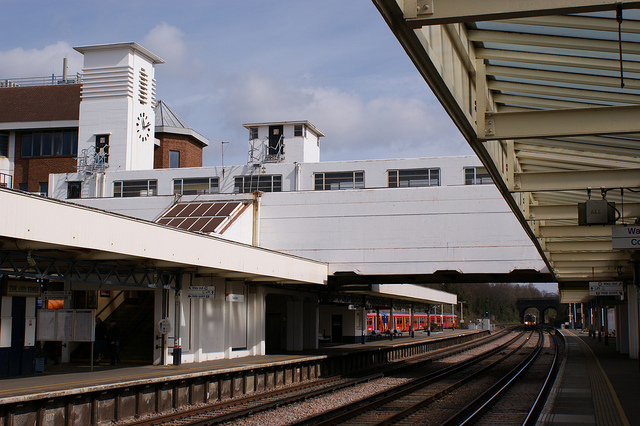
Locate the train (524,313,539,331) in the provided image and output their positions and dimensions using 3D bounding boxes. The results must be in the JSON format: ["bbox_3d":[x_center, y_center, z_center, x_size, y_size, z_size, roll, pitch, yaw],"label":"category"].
[{"bbox_3d":[27.969,14.803,135.384,1.320,2.095,7.404,-2,-17,11],"label":"train"}]

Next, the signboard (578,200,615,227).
[{"bbox_3d":[9.368,-0.020,34.468,1.262,0.886,0.660,-2,-11,11],"label":"signboard"}]

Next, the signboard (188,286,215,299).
[{"bbox_3d":[-5.424,3.531,46.106,1.119,0.566,1.526,-1,-11,-10],"label":"signboard"}]

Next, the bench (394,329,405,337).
[{"bbox_3d":[6.690,10.228,87.487,0.711,0.873,0.651,1,-6,-5],"label":"bench"}]

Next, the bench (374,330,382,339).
[{"bbox_3d":[4.814,9.610,82.175,0.509,0.570,0.444,-2,-5,17],"label":"bench"}]

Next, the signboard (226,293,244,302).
[{"bbox_3d":[-4.272,4.087,50.145,0.331,0.378,1.196,-9,-12,30],"label":"signboard"}]
